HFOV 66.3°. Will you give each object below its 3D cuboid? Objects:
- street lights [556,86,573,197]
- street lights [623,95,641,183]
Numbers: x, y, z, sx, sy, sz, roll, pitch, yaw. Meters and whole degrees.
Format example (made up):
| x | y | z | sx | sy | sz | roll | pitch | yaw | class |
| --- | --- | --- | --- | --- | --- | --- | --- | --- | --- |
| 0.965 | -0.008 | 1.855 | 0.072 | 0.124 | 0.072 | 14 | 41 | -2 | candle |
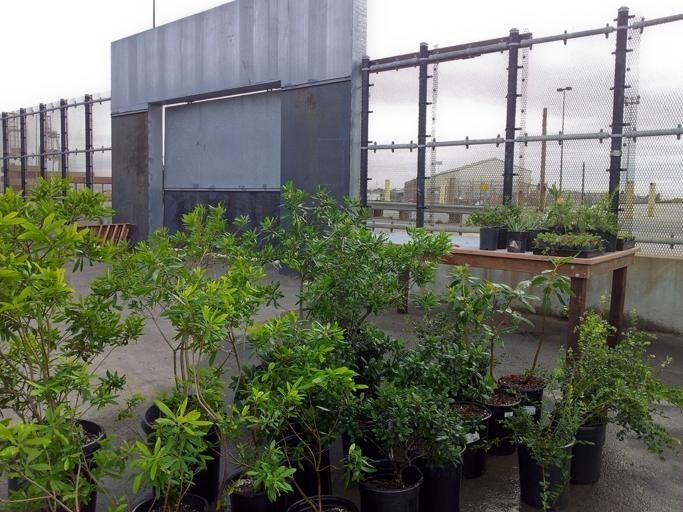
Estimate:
| x | y | z | sx | sy | sz | roll | pitch | yaw | class |
| --- | --- | --- | --- | --- | --- | --- | --- | --- | --- |
| 2.688 | -1.422 | 6.393 | 0.170 | 1.301 | 0.185 | -1 | 13 | 9 | street lights |
| 3.322 | -1.375 | 6.034 | 0.153 | 1.169 | 0.054 | 3 | -3 | 31 | street lights |
